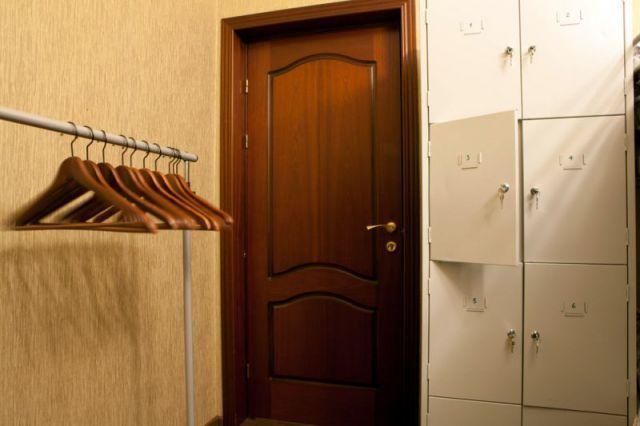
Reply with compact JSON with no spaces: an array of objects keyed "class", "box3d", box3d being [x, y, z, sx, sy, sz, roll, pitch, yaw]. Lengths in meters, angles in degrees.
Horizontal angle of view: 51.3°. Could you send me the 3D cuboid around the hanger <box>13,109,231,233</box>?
[{"class":"hanger","box3d":[-0.906,-0.164,3.067,0.979,0.521,0.569,0,-4,-8]}]
